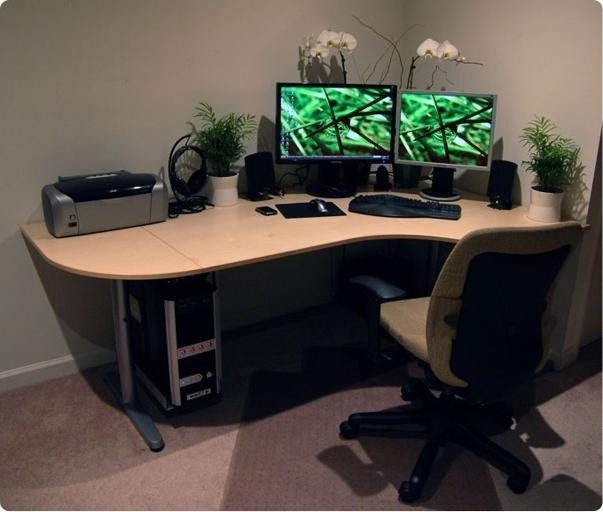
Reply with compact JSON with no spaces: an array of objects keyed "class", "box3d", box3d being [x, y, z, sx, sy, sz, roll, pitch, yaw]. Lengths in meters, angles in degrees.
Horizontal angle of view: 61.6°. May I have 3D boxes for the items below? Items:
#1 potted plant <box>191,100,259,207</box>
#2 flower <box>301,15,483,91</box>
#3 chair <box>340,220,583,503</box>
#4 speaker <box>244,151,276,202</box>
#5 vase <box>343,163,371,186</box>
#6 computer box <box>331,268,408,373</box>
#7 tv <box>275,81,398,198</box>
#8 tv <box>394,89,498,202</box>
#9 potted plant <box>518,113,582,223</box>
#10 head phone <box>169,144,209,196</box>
[{"class":"potted plant","box3d":[-0.402,-0.521,2.545,0.384,0.452,0.240,-18,44,-34]},{"class":"flower","box3d":[0.449,-1.044,2.682,0.835,0.417,0.598,-15,29,-23]},{"class":"chair","box3d":[0.606,0.329,1.931,0.725,1.053,0.556,-5,25,-4]},{"class":"speaker","box3d":[-0.226,-0.419,2.671,0.204,0.295,0.096,-13,16,-38]},{"class":"vase","box3d":[0.311,-0.463,2.836,0.117,0.137,0.156,5,29,9]},{"class":"computer box","box3d":[0.286,0.273,2.085,0.184,0.334,0.242,-2,4,-37]},{"class":"tv","box3d":[0.179,-0.622,2.658,0.567,0.551,0.251,-3,24,-12]},{"class":"tv","box3d":[0.756,-0.585,2.611,0.465,0.566,0.232,11,29,18]},{"class":"potted plant","box3d":[1.170,-0.383,2.369,0.273,0.452,0.272,4,8,-16]},{"class":"head phone","box3d":[-0.567,-0.424,2.483,0.113,0.252,0.198,15,21,41]}]
